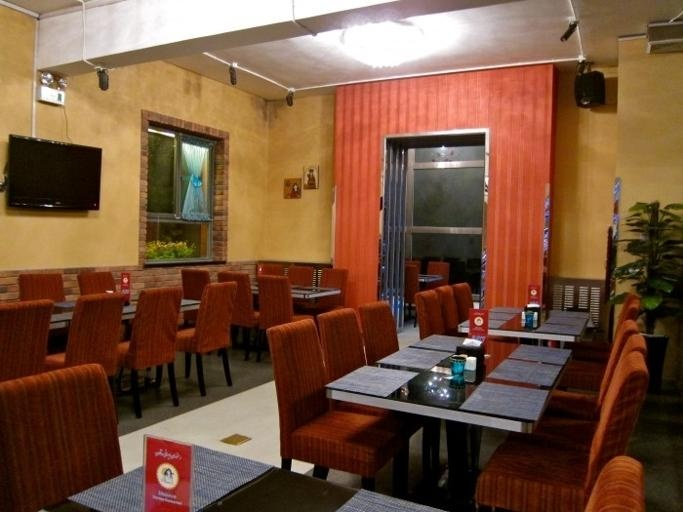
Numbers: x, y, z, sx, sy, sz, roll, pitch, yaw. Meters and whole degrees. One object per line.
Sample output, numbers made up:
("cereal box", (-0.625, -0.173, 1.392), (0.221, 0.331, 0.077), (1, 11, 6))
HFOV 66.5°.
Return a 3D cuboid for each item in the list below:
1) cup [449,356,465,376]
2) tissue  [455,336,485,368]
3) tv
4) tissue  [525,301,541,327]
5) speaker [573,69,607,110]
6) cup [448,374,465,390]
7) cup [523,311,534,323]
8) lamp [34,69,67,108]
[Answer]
("cup", (0.651, 0.621, 2.936), (0.090, 0.109, 0.095), (-1, -2, 0))
("tissue ", (0.801, 0.592, 3.196), (0.169, 0.130, 0.234), (4, 5, 28))
("tv", (-3.391, -0.969, 6.091), (0.130, 0.752, 1.010), (0, -2, 29))
("tissue ", (1.687, 0.524, 4.602), (0.111, 0.228, 0.118), (5, 12, 27))
("speaker", (3.187, -2.158, 6.736), (0.273, 0.440, 0.344), (2, 1, -17))
("cup", (0.625, 0.684, 2.829), (0.076, 0.080, 0.055), (4, 14, 15))
("cup", (1.607, 0.527, 4.506), (0.078, 0.084, 0.081), (2, -5, 0))
("lamp", (-3.374, -1.970, 6.109), (0.105, 0.367, 0.372), (9, 7, 13))
